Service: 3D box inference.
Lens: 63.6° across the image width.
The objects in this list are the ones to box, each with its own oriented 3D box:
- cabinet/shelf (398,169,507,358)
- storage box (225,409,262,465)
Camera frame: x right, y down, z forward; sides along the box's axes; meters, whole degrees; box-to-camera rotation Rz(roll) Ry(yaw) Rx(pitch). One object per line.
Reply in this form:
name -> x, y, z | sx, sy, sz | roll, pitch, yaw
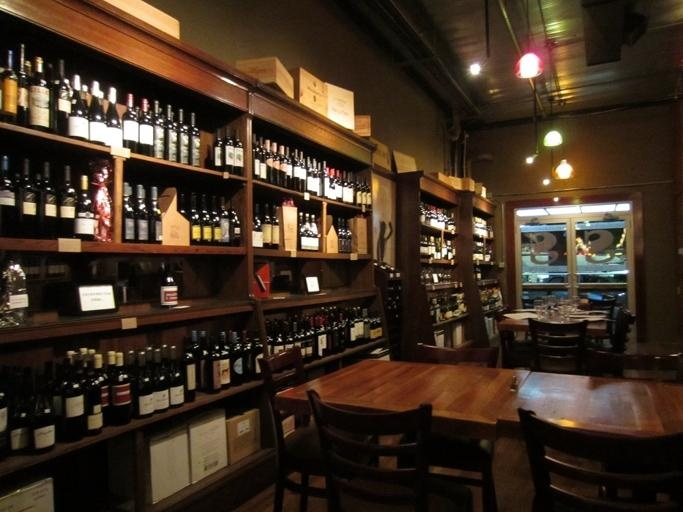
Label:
cabinet/shelf -> 1.447, 0.120, 7.328 | 0.498, 2.054, 2.894 | -3, -3, 24
storage box -> -0.698, 1.297, 3.901 | 0.180, 0.311, 0.341 | -5, -7, 31
